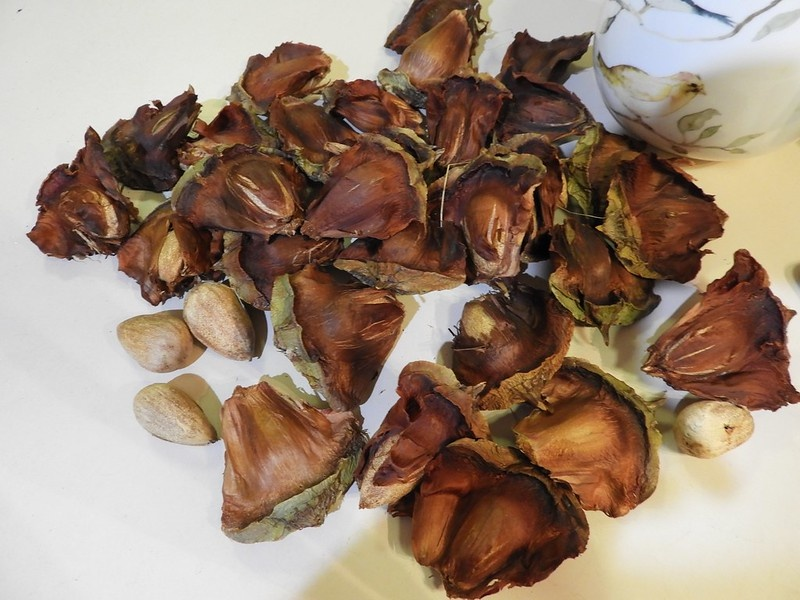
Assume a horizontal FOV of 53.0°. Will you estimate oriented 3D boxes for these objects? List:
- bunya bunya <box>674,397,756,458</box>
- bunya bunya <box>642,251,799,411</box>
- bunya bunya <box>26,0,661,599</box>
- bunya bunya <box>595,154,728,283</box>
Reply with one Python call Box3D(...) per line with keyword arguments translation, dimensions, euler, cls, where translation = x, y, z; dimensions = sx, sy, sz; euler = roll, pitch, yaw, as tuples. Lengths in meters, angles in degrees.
Box3D(translation=(0.433, 0.195, 1.178), dimensions=(0.132, 0.067, 0.061), euler=(-6, -2, 2), cls="bunya bunya")
Box3D(translation=(0.466, 0.047, 1.169), dimensions=(0.216, 0.230, 0.089), euler=(0, 22, 13), cls="bunya bunya")
Box3D(translation=(-0.075, -0.019, 1.221), dimensions=(0.891, 0.848, 0.540), euler=(-9, 21, -13), cls="bunya bunya")
Box3D(translation=(0.378, -0.111, 1.177), dimensions=(0.223, 0.172, 0.061), euler=(13, 3, 3), cls="bunya bunya")
